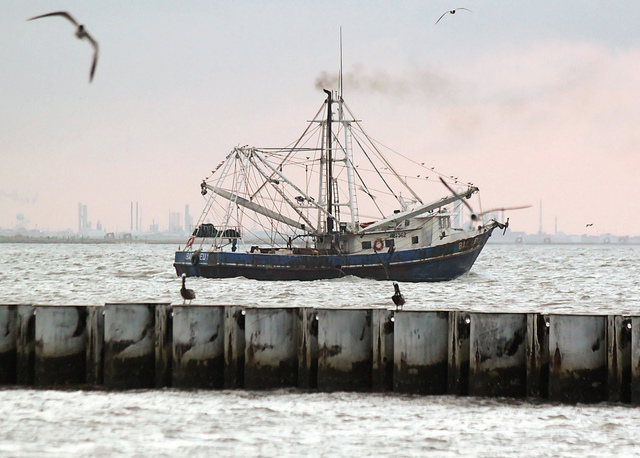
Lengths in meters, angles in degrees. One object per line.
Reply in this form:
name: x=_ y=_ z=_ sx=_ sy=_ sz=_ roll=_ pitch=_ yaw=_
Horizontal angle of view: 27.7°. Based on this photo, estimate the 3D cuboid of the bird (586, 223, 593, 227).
bird: x=3.649 y=-0.050 z=17.594 sx=0.045 sy=0.090 sz=0.227 roll=-7 pitch=-12 yaw=9

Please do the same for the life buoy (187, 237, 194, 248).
life buoy: x=-6.184 y=0.635 z=61.620 sx=0.271 sy=0.112 sz=0.526 roll=20 pitch=-44 yaw=-4

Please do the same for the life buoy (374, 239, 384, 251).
life buoy: x=2.571 y=0.698 z=57.030 sx=0.444 sy=0.534 sz=0.172 roll=-3 pitch=-8 yaw=9
